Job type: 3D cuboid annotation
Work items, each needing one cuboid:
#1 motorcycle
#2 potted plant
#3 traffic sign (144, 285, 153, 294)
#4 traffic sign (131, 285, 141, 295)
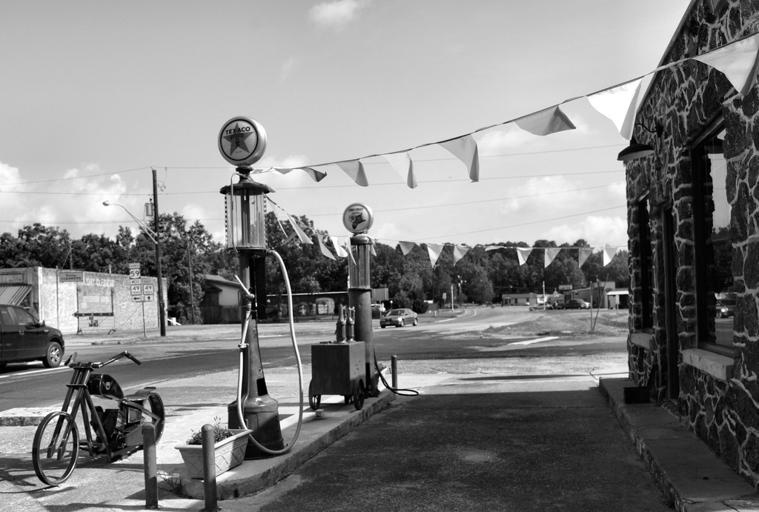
[{"bbox_3d":[-3.764,2.194,10.140,0.928,1.551,2.723,-4,-3,18],"label":"motorcycle"},{"bbox_3d":[-2.099,2.454,9.281,0.608,0.412,0.939,-3,-10,10],"label":"potted plant"},{"bbox_3d":[-11.580,1.649,36.124,0.332,0.514,0.704,-5,-4,8],"label":"traffic sign"},{"bbox_3d":[-12.229,1.713,36.290,0.429,0.425,0.066,0,-13,-2],"label":"traffic sign"}]
